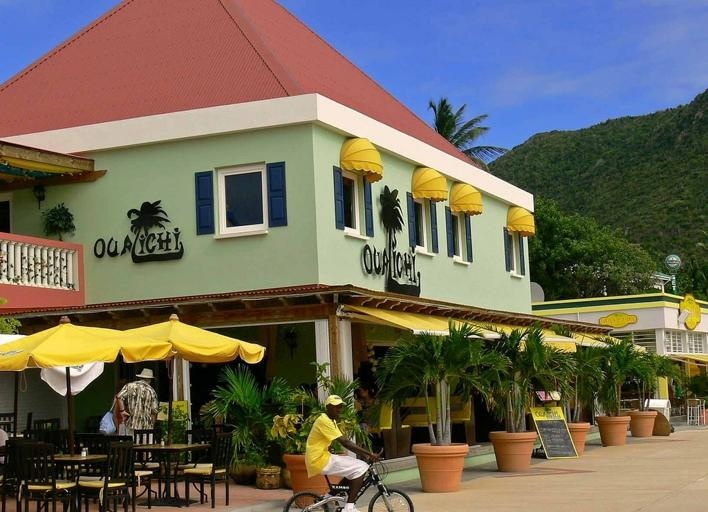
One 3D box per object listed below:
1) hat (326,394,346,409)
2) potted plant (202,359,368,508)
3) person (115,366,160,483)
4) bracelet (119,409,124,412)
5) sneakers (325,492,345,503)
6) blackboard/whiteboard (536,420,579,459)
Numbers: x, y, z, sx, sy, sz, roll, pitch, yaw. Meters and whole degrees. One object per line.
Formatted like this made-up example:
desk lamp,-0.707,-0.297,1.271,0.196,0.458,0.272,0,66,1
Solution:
hat,-0.391,2.502,13.755,0.249,0.181,0.343,5,-11,-41
potted plant,-1.831,3.961,17.872,2.679,2.003,2.648,8,-6,40
person,-4.964,3.737,18.161,1.005,2.347,0.663,16,-16,-38
bracelet,-5.064,3.394,17.603,0.066,0.065,0.067,2,-1,12
sneakers,-0.298,3.952,13.148,0.325,0.133,0.111,8,-9,3
blackboard/whiteboard,5.817,5.284,23.042,1.351,1.547,0.108,3,-26,-37
